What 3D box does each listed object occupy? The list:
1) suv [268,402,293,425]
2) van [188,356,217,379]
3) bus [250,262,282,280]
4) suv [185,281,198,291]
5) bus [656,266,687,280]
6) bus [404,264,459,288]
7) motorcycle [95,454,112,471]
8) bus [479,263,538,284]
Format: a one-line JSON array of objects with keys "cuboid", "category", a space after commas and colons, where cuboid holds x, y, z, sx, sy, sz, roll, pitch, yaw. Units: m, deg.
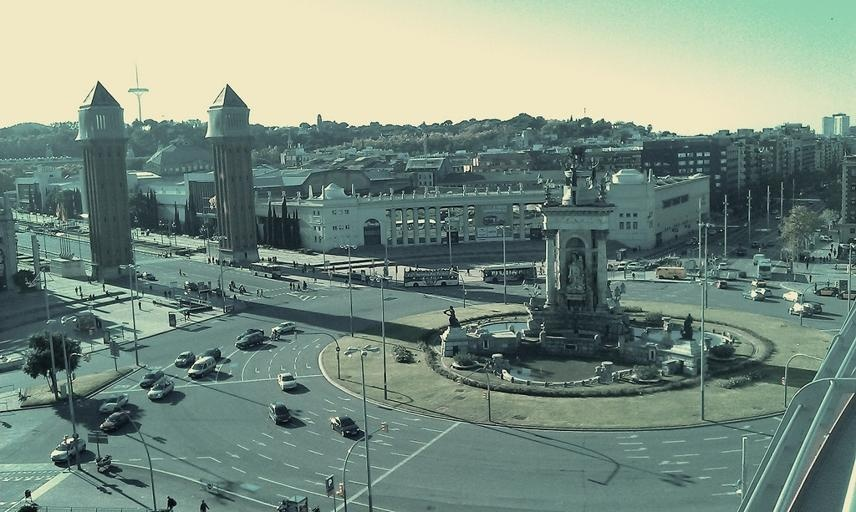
[{"cuboid": [-23.040, 24.539, 169.327, 2.578, 2.625, 3.887, -12, 16, -38], "category": "suv"}, {"cuboid": [-38.034, 18.801, 183.393, 2.685, 2.730, 5.026, 7, 15, 34], "category": "van"}, {"cuboid": [-35.965, 3.676, 242.215, 3.077, 3.021, 9.000, -13, 18, -42], "category": "bus"}, {"cuboid": [-49.502, 6.300, 228.676, 2.054, 1.671, 2.082, 7, 11, 37], "category": "suv"}, {"cuboid": [51.068, 3.665, 228.348, 4.686, 2.201, 3.054, 2, 4, 21], "category": "bus"}, {"cuboid": [0.885, 4.587, 230.086, 12.709, 3.801, 4.257, 0, 3, 0], "category": "bus"}, {"cuboid": [-48.054, 30.573, 161.068, 2.084, 1.989, 1.453, -8, 14, -25], "category": "motorcycle"}, {"cuboid": [17.452, 3.736, 230.756, 12.694, 4.029, 4.320, 1, 0, -6], "category": "bus"}]
